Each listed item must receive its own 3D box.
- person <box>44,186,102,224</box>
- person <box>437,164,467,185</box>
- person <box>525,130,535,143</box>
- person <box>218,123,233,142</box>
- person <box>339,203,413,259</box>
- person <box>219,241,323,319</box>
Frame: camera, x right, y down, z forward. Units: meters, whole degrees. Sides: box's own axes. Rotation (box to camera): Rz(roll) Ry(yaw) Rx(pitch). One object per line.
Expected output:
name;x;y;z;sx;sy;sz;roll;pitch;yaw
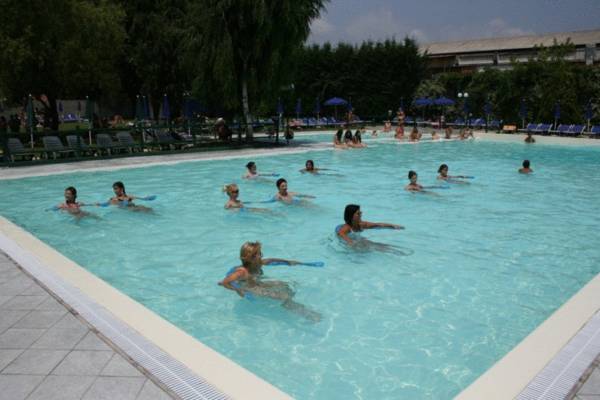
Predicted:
person;-6.145;0.265;11.678;1.427;1.096;0.413;-8;5;-11
person;5.510;-0.845;15.655;0.922;0.379;0.918;10;23;35
person;14.882;-3.960;27.907;0.595;0.487;0.740;3;13;29
person;-4.539;-4.070;25.818;0.805;0.976;0.556;-6;12;-9
person;1.504;0.798;9.711;1.263;0.621;1.345;11;22;39
person;-0.365;1.313;7.483;1.722;0.845;1.216;11;15;15
